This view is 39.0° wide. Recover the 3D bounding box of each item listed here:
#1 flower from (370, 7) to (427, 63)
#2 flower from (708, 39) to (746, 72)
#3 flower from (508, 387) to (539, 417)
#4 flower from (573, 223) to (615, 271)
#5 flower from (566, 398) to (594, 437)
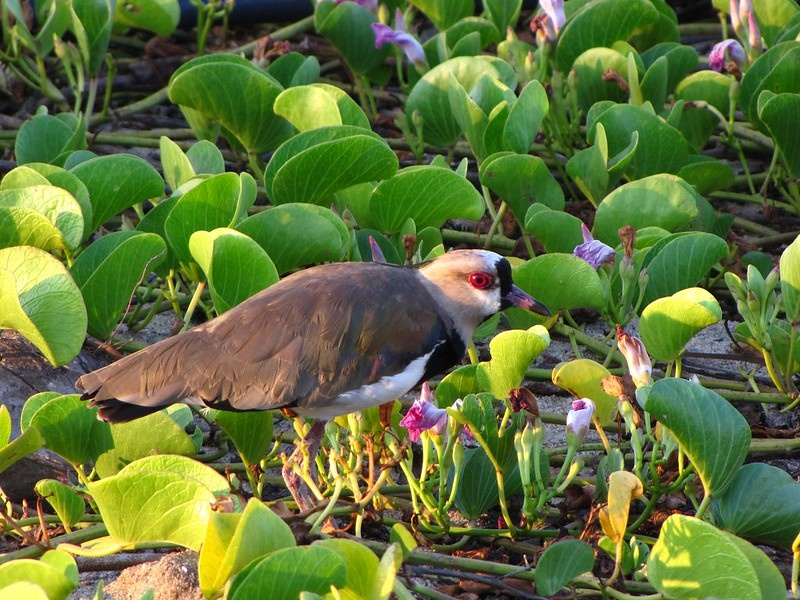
[{"bbox_3d":[-0.006,-1.598,6.857,0.297,0.201,0.320,27,30,-30],"label":"flower"},{"bbox_3d":[1.982,-1.476,6.819,0.097,0.190,0.221,0,14,38],"label":"flower"},{"bbox_3d":[0.532,0.430,4.774,0.058,0.115,0.129,-12,12,-19],"label":"flower"},{"bbox_3d":[0.947,-0.218,5.586,0.138,0.244,0.221,-16,-33,30],"label":"flower"},{"bbox_3d":[0.759,0.520,4.782,0.089,0.185,0.109,14,-8,-33],"label":"flower"}]
